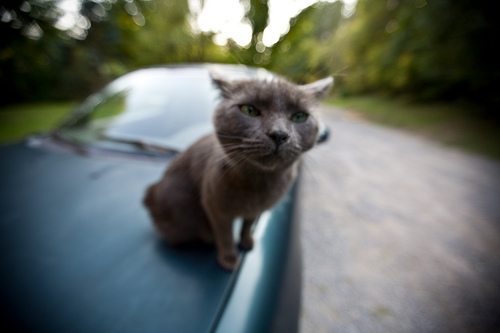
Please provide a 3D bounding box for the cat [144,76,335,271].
[{"bbox_3d":[-0.168,0.029,1.842,0.618,1.026,1.202,-3,7,-39],"label":"cat"}]
